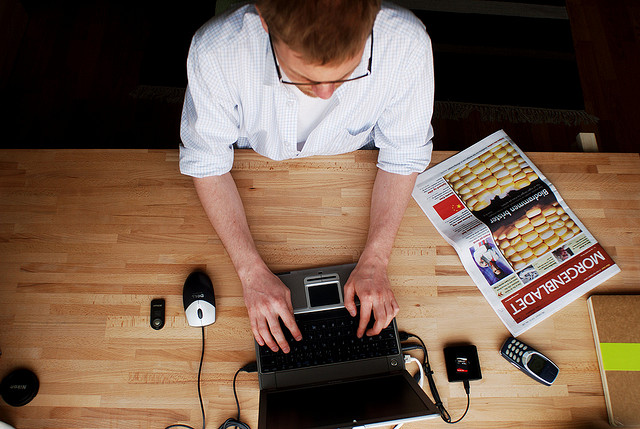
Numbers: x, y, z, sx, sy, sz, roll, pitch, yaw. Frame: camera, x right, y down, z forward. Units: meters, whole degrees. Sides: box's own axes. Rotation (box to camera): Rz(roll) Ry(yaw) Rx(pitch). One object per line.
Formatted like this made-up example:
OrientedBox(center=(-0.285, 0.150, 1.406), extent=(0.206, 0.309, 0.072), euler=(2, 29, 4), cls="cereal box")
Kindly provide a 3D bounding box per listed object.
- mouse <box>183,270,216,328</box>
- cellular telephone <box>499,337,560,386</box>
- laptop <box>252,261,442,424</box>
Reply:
OrientedBox(center=(-0.431, 0.300, 1.657), extent=(0.115, 0.054, 0.179), euler=(-8, 79, -1), cls="mouse")
OrientedBox(center=(0.744, 0.523, 1.669), extent=(0.204, 0.088, 0.081), euler=(29, 60, 22), cls="cellular telephone")
OrientedBox(center=(0.039, 0.490, 1.644), extent=(0.579, 0.229, 0.606), euler=(-16, 54, -10), cls="laptop")
